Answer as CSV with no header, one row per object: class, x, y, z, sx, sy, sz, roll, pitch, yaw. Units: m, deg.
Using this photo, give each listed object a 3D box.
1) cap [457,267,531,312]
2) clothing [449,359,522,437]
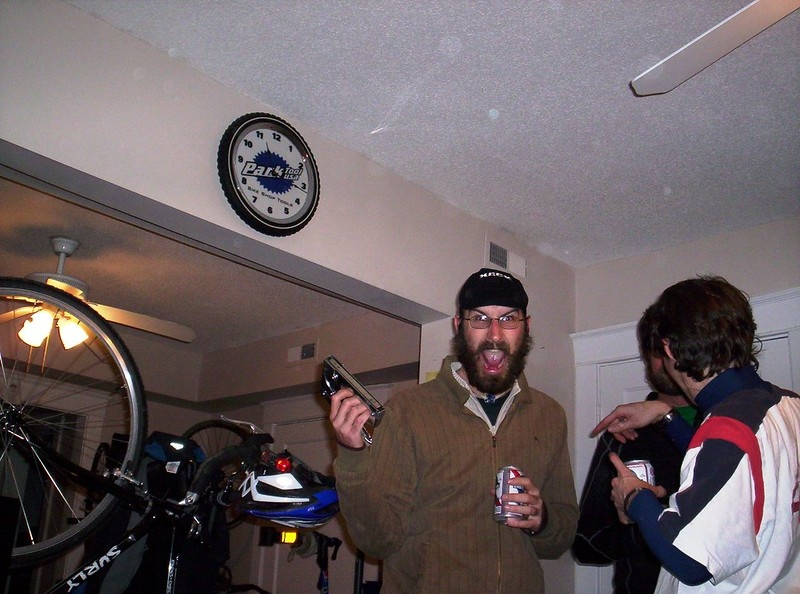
cap,0.350,-0.036,2.368,0.248,0.165,0.234,21,-4,-10
clothing,0.326,0.370,2.236,0.199,0.276,0.170,3,-6,5
